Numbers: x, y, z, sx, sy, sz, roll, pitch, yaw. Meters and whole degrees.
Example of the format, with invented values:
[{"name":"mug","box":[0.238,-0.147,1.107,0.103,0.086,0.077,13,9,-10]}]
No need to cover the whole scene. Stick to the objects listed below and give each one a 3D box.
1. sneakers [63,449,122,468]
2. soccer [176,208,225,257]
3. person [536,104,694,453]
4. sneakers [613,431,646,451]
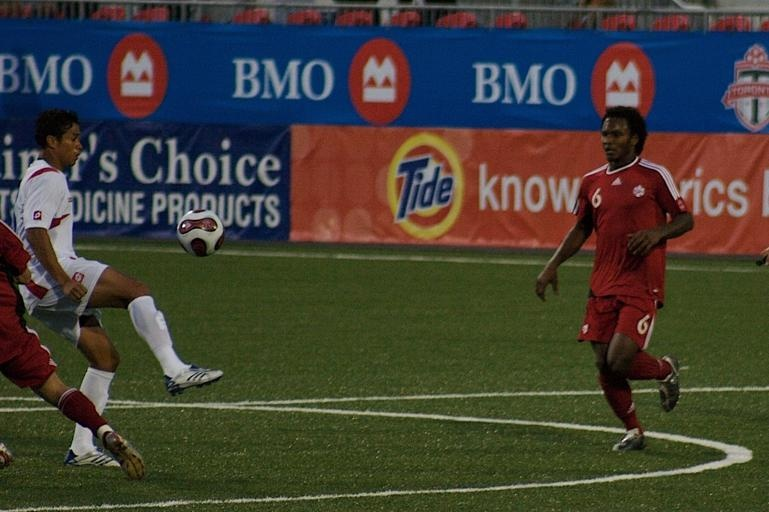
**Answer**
[{"name":"sneakers","box":[-3.252,2.222,18.602,0.694,0.255,0.219,1,1,-6]},{"name":"soccer","box":[-2.200,-0.293,19.904,0.630,0.565,0.596,-7,0,8]},{"name":"person","box":[2.689,0.172,18.998,1.156,3.730,1.348,-12,18,-39]},{"name":"sneakers","box":[2.765,2.059,18.847,0.379,0.199,0.177,-14,-9,4]}]
